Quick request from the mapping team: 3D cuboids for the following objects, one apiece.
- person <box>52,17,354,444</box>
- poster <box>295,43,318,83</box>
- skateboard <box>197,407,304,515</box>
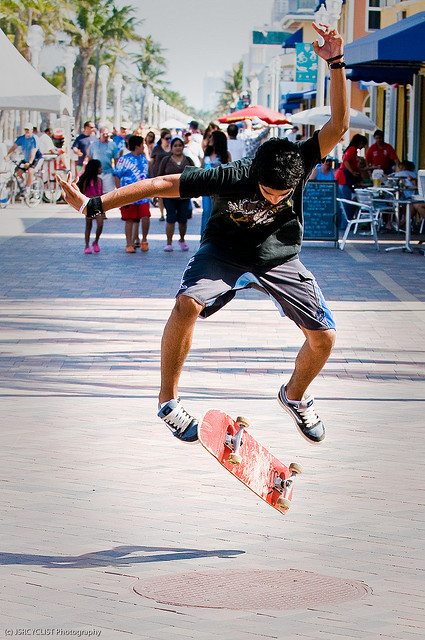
[{"bbox_3d":[0.132,-0.393,3.245,0.793,2.171,1.071,6,8,39],"label":"person"},{"bbox_3d":[3.796,-10.557,26.830,0.833,1.707,1.538,1,6,5],"label":"poster"},{"bbox_3d":[0.157,0.589,2.814,0.438,0.422,0.325,1,6,3],"label":"skateboard"}]
